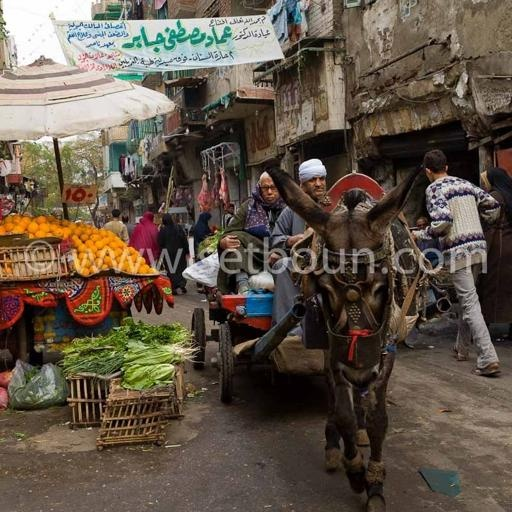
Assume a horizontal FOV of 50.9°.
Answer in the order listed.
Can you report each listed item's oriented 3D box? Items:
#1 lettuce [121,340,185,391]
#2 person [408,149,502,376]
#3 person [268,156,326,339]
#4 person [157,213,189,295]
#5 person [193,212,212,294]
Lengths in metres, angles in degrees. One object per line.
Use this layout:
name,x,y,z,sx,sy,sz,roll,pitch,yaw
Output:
lettuce,-0.802,0.846,4.115,0.438,0.270,0.494,-1,0,-4
person,2.194,0.021,5.921,0.957,2.363,1.122,-4,3,23
person,0.366,-0.051,4.435,0.550,1.420,0.565,5,14,-11
person,-2.022,-0.127,13.154,0.813,2.234,0.915,0,1,13
person,-1.501,-0.498,15.071,0.527,1.700,0.553,4,44,-7
